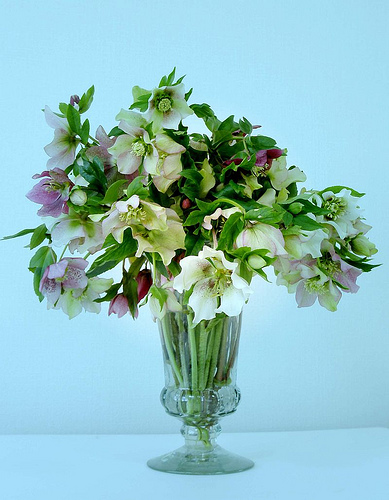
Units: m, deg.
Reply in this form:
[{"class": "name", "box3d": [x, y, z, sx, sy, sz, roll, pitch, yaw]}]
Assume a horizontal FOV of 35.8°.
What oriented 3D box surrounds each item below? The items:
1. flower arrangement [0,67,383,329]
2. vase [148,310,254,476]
[{"class": "flower arrangement", "box3d": [-0.005, -0.037, 0.805, 0.481, 0.336, 0.322, -6, -36, 10]}, {"class": "vase", "box3d": [0.008, 0.210, 0.959, 0.184, 0.234, 0.168, 7, -14, -34]}]
